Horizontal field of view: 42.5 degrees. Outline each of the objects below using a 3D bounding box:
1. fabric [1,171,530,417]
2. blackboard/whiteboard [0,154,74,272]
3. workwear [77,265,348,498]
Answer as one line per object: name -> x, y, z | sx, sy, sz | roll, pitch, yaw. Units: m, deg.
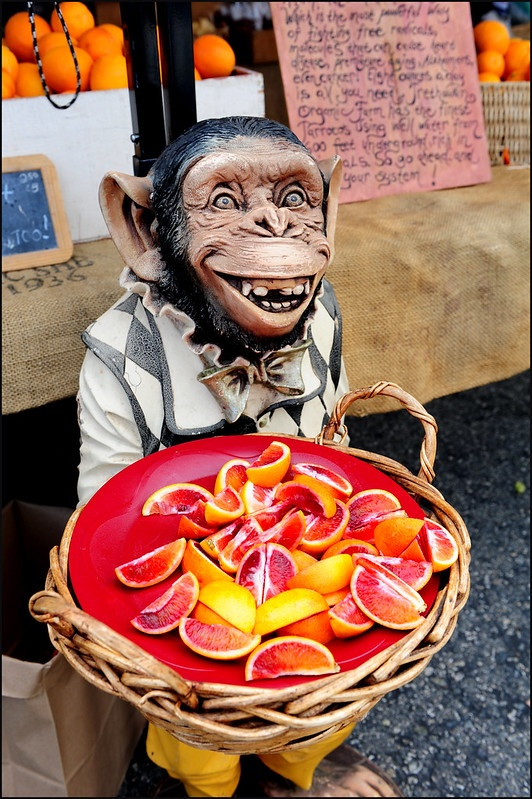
fabric -> 0.067, -0.197, 2.340 | 1.714, 0.545, 0.396 | -9, 0, -25
blackboard/whiteboard -> -0.487, -0.393, 1.428 | 0.038, 0.250, 0.243 | 15, 22, 34
workwear -> -0.089, -0.020, 1.111 | 0.346, 0.313, 0.185 | -16, 40, -22
